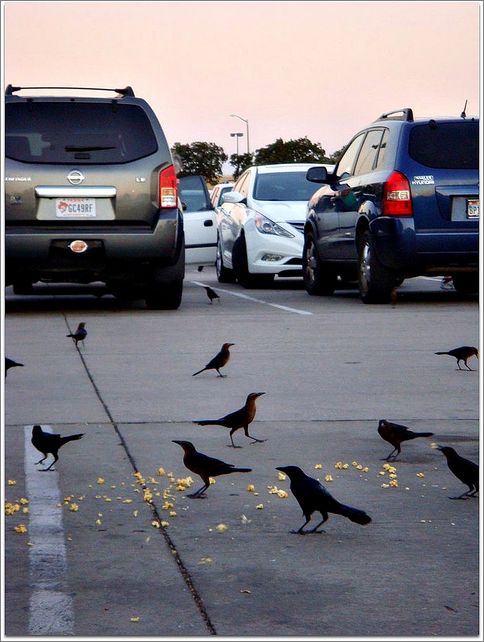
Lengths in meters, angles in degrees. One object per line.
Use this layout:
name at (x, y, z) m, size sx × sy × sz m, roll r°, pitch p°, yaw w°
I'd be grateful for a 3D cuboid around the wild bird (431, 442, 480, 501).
wild bird at (0.819, 0.567, 3.950) m, size 0.131 × 0.171 × 0.269 m, roll -1°, pitch 7°, yaw 9°

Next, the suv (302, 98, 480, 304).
suv at (1.720, -1.411, 12.381) m, size 2.026 × 1.621 × 3.389 m, roll 0°, pitch 9°, yaw -13°

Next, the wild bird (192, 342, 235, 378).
wild bird at (-0.211, 0.247, 6.845) m, size 0.232 × 0.231 × 0.427 m, roll -2°, pitch 6°, yaw -3°

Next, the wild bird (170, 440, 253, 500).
wild bird at (-0.126, 0.567, 3.924) m, size 0.176 × 0.197 × 0.327 m, roll -6°, pitch 8°, yaw -30°

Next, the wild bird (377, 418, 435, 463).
wild bird at (0.708, 0.504, 4.619) m, size 0.223 × 0.163 × 0.367 m, roll -1°, pitch 6°, yaw 5°

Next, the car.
car at (0.379, -1.427, 15.704) m, size 1.277 × 0.943 × 2.383 m, roll -1°, pitch 1°, yaw -11°

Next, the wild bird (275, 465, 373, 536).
wild bird at (0.269, 0.613, 3.519) m, size 0.229 × 0.201 × 0.420 m, roll -3°, pitch 6°, yaw -6°

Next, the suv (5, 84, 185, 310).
suv at (-1.591, -1.462, 11.544) m, size 1.813 × 1.493 × 3.008 m, roll 0°, pitch 11°, yaw -8°
